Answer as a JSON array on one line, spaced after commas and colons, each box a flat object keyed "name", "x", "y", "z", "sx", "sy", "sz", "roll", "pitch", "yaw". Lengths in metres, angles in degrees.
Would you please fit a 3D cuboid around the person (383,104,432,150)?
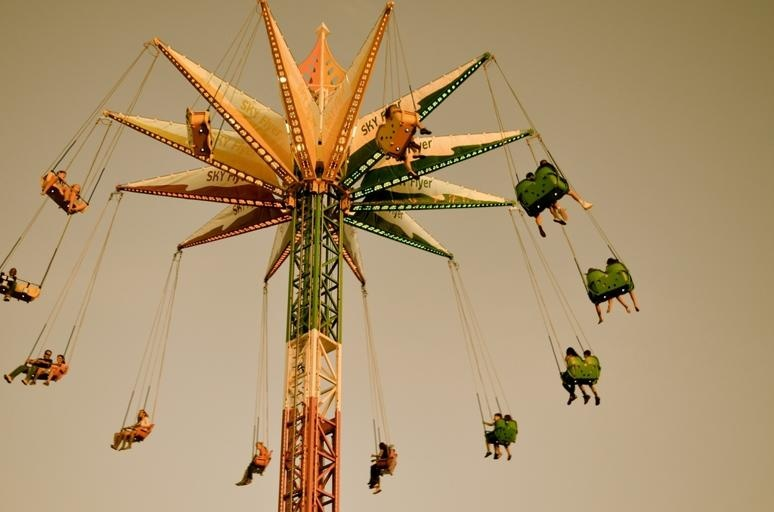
[{"name": "person", "x": 0.527, "y": -4.454, "z": 26.740, "sx": 1.134, "sy": 0.830, "sz": 2.000, "roll": 14, "pitch": -23, "yaw": -3}]
